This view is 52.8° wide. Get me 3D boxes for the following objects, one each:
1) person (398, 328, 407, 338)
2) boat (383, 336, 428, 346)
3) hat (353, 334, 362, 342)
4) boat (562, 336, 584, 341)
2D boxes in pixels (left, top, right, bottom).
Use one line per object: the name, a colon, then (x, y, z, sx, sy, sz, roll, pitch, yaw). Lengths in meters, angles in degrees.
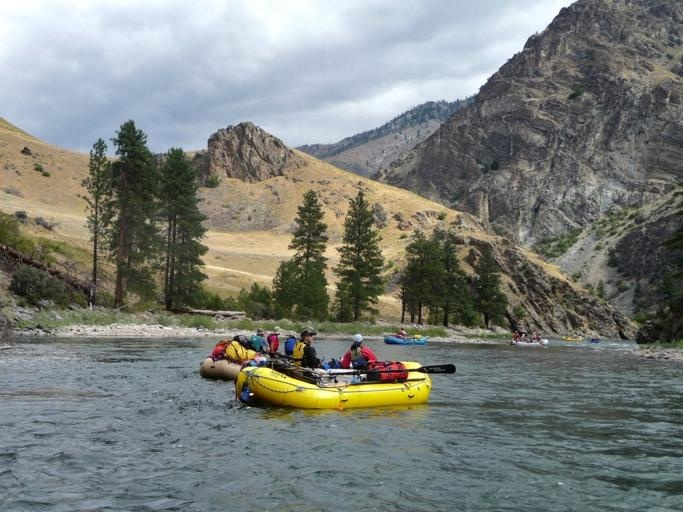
person: (6.275, 7.886, 69.801, 1.092, 0.446, 0.382, 11, 4, 4)
boat: (6.452, 8.261, 65.985, 2.987, 0.588, 1.567, 4, -3, -32)
hat: (0.882, 4.227, 34.848, 0.473, 0.504, 0.590, 1, 8, 2)
boat: (34.168, 12.256, 101.184, 2.548, 0.551, 1.166, 3, -7, -13)
